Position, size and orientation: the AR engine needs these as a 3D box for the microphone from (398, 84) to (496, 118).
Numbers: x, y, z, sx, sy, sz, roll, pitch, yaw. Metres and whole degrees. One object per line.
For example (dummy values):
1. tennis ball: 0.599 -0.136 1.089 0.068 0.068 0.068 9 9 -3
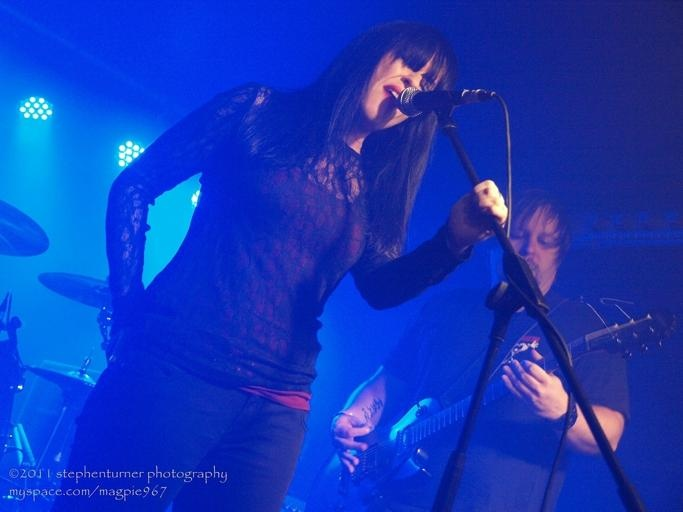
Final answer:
1. microphone: 0.542 -0.838 3.885 0.589 0.188 0.198 1 13 41

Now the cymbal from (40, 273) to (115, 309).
1. cymbal: -2.320 0.309 6.143 0.546 0.177 0.188 17 -46 2
